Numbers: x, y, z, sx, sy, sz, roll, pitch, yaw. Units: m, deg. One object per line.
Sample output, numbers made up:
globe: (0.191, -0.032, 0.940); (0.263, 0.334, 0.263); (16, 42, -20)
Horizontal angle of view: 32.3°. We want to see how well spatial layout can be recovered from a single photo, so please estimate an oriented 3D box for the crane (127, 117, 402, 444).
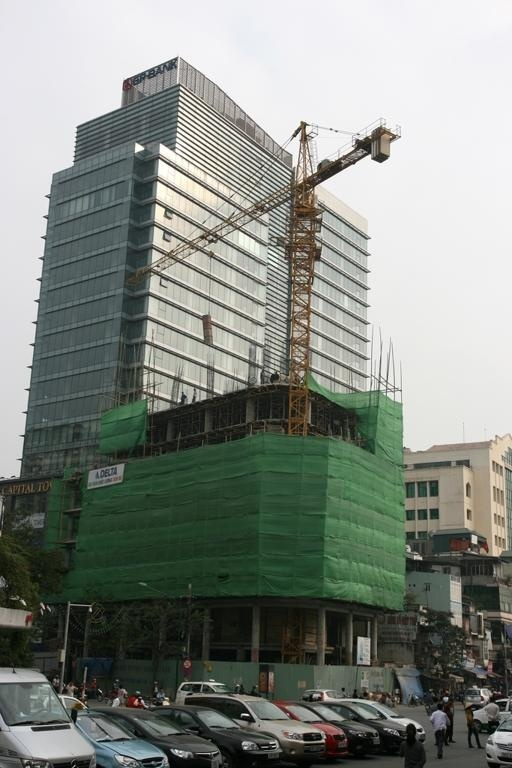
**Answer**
crane: (1.535, -10.700, 81.514); (26.645, 25.962, 10.787); (-17, -30, 35)
